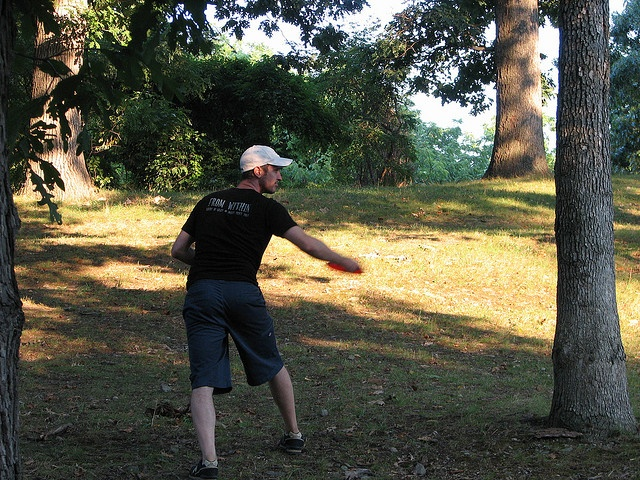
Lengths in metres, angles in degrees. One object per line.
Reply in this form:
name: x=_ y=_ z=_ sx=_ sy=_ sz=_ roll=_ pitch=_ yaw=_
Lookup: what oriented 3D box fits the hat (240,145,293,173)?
hat: x=-0.651 y=-0.979 z=11.228 sx=0.544 sy=0.227 sz=0.320 roll=-4 pitch=9 yaw=-9
